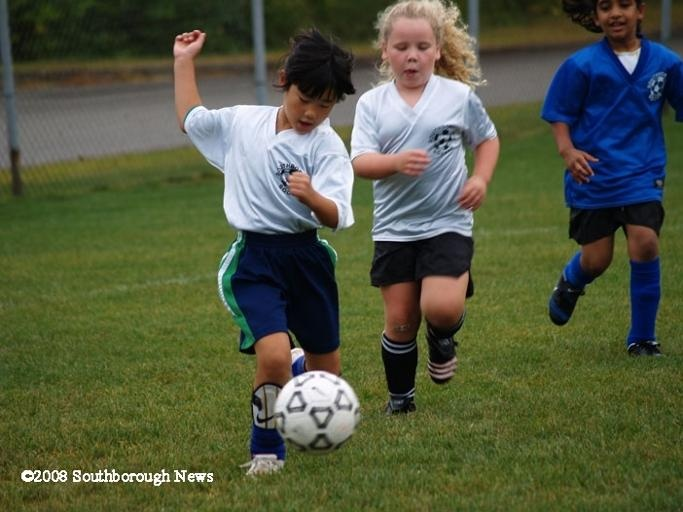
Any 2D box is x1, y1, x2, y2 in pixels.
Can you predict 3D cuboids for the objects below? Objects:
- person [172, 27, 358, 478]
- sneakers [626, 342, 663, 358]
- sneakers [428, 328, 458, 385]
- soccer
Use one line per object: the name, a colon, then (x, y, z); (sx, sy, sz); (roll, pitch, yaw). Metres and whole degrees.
person: (-0.355, 0.077, 5.045); (0.740, 1.707, 0.895); (-13, 20, -29)
sneakers: (1.794, 0.558, 5.858); (0.231, 0.104, 0.080); (-2, 6, 10)
sneakers: (0.566, 0.570, 5.620); (0.127, 0.167, 0.386); (-2, 25, 3)
soccer: (-0.118, 0.749, 4.817); (0.397, 0.451, 0.354); (-5, 31, -11)
